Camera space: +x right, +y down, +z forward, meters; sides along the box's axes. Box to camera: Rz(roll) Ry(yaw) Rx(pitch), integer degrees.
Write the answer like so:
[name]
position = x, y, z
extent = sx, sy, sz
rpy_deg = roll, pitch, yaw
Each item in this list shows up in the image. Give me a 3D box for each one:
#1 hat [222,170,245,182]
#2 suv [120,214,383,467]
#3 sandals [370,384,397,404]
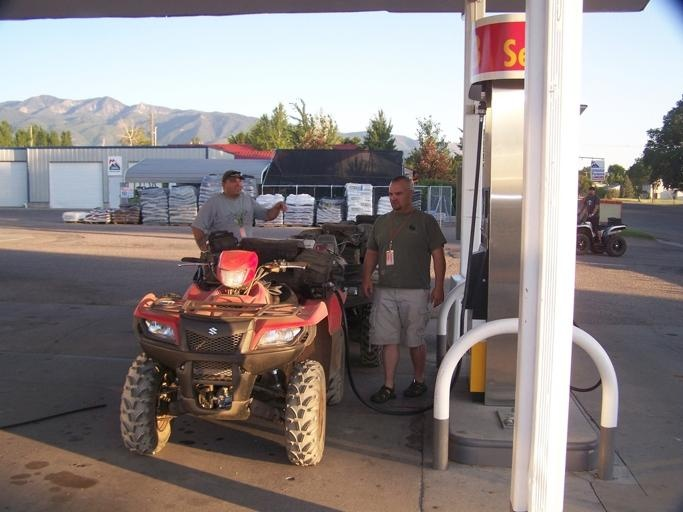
[hat]
position = -1.286, -0.952, 8.273
extent = 0.239, 0.121, 0.178
rpy_deg = -9, 0, 26
[suv]
position = -0.669, 0.720, 6.323
extent = 1.576, 1.769, 2.286
rpy_deg = 4, 9, 22
[sandals]
position = 0.429, 1.398, 7.003
extent = 0.125, 0.120, 0.288
rpy_deg = -4, -7, 30
